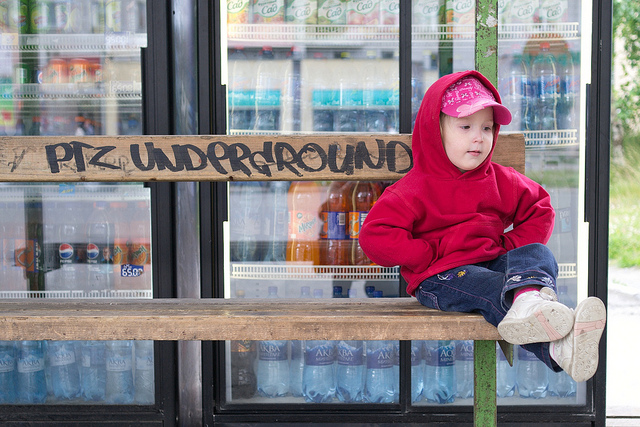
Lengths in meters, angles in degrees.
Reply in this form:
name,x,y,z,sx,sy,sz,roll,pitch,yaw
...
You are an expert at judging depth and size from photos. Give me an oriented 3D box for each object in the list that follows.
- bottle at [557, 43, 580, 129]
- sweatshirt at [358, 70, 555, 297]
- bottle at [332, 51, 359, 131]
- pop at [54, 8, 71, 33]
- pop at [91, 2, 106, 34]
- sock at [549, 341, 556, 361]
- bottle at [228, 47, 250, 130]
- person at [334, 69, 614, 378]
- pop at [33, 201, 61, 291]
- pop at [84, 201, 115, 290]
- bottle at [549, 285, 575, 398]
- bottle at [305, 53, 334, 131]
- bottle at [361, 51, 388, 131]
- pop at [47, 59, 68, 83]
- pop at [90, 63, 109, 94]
name,x,y,z,sx,sy,sz,roll,pitch,yaw
bottle,1.293,-0.676,6.526,0.116,0.448,0.069,0,3,20
sweatshirt,0.676,-0.124,5.988,1.090,1.213,0.597,-1,-5,-11
bottle,0.131,-0.636,6.668,0.140,0.373,0.045,0,2,1
pop,-1.370,-1.029,6.598,0.087,0.130,0.019,0,3,14
pop,-1.171,-1.042,6.570,0.094,0.161,0.021,1,3,35
sock,1.039,0.612,5.605,0.025,0.074,0.006,1,3,26
bottle,-0.439,-0.641,6.637,0.113,0.362,0.060,-1,2,-7
person,0.761,-0.010,5.739,0.989,1.200,1.504,-5,12,-19
pop,-1.466,0.169,6.667,0.131,0.509,0.138,10,28,10
pop,-1.178,0.185,6.684,0.162,0.618,0.168,0,20,-16
bottle,1.254,0.657,6.566,0.190,0.594,0.247,0,3,0
bottle,0.000,-0.636,6.718,0.133,0.499,0.117,-3,-8,8
bottle,0.292,-0.618,6.712,0.159,0.530,0.159,0,11,0
pop,-1.401,-0.760,6.608,0.113,0.186,0.115,0,-4,-9
pop,-1.183,-0.729,6.649,0.106,0.166,0.116,-2,-1,-28
